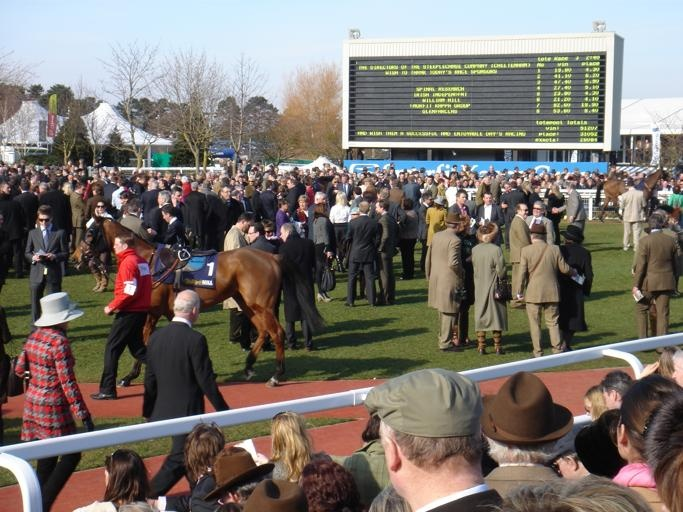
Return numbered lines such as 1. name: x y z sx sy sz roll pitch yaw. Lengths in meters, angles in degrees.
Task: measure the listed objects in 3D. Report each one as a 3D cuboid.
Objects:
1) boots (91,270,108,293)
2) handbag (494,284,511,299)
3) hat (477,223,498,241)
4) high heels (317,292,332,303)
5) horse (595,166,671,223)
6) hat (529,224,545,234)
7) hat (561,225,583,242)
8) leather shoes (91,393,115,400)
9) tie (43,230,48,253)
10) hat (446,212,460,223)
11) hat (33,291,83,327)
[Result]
1. boots: -4.124 0.487 20.899 0.364 0.430 0.250 5 -2 0
2. handbag: 2.285 0.537 17.220 0.213 0.276 0.109 1 5 2
3. hat: 2.113 -0.323 17.560 0.273 0.278 0.418 -1 5 6
4. high heels: -0.268 0.749 20.666 0.103 0.147 0.304 2 -4 -35
5. horse: 6.967 -1.397 28.930 1.848 1.358 0.471 0 -1 14
6. hat: 2.816 -0.364 17.360 0.213 0.170 0.196 -1 5 6
7. hat: 3.385 -0.295 17.642 0.267 0.268 0.348 -1 6 10
8. leather shoes: -3.123 1.873 15.846 0.286 0.125 0.111 4 2 -6
9. tie: -4.391 -0.206 18.075 0.139 0.331 0.207 -3 6 -14
10. hat: 1.638 -0.529 17.685 0.187 0.152 0.136 -1 5 2
11. hat: -3.344 0.632 14.228 0.521 0.297 0.600 2 13 39
